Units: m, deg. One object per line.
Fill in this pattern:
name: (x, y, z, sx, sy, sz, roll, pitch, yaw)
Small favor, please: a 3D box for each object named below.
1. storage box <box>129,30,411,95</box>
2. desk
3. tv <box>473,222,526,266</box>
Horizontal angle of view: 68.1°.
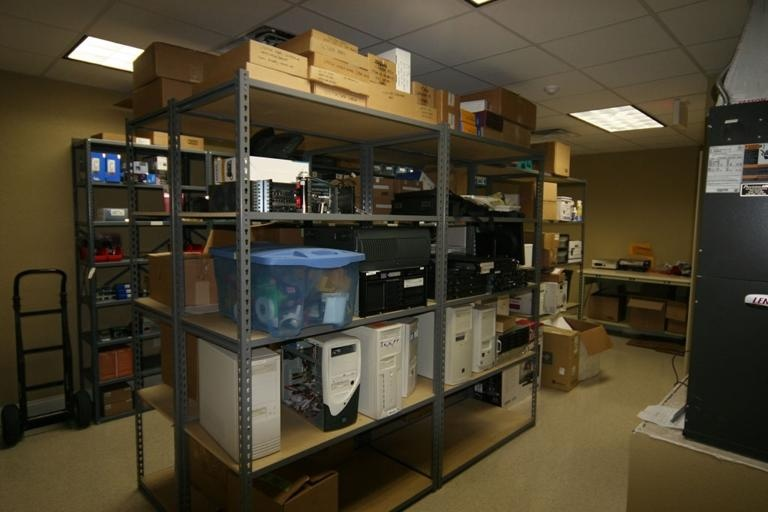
storage box: (-0.826, -1.315, 3.840, 1.942, 0.330, 0.690, 0, 5, 4)
desk: (3.518, 0.742, 7.653, 0.829, 0.980, 1.488, -2, 6, -44)
tv: (1.150, -0.114, 5.099, 0.512, 0.442, 0.380, -1, -5, -31)
